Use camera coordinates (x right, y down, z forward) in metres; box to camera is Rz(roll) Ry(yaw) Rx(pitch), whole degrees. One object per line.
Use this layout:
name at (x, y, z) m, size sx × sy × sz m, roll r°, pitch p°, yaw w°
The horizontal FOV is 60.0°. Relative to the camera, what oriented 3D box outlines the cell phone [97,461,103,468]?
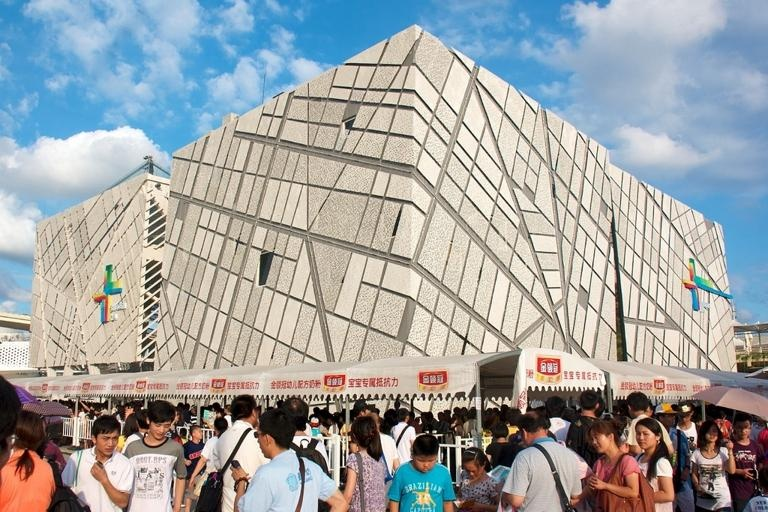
cell phone at (-3.596, 2.631, 8.408) m, size 0.070 × 0.071 × 0.017 m, roll 8°, pitch 25°, yaw 39°
